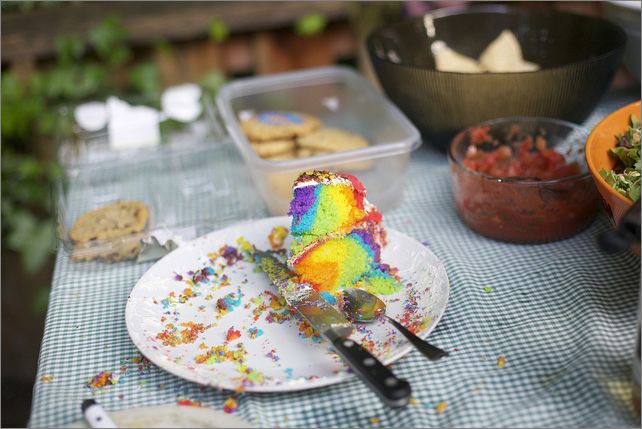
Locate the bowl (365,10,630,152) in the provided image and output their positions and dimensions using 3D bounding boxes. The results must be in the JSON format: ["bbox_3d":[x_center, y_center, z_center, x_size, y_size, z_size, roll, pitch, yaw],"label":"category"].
[{"bbox_3d":[0.488,-0.463,1.803,0.709,0.430,0.517,-2,36,-5],"label":"bowl"}]

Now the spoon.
[{"bbox_3d":[0.144,0.215,1.260,0.093,0.051,0.340,-16,31,-26],"label":"spoon"}]

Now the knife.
[{"bbox_3d":[-0.006,0.227,1.294,0.069,0.149,0.559,-34,61,-19],"label":"knife"}]

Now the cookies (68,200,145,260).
[{"bbox_3d":[-0.560,0.041,1.511,0.143,0.035,0.150,30,57,16],"label":"cookies"}]
